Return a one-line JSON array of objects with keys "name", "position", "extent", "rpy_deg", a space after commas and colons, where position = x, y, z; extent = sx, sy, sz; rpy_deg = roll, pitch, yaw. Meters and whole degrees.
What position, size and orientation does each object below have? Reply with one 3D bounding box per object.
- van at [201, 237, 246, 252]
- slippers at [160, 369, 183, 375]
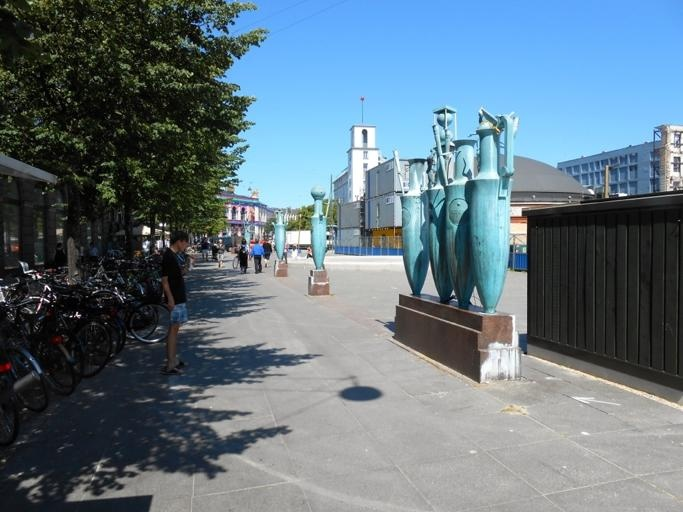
[{"name": "van", "position": [-10.723, -1.068, 51.917], "extent": [3.284, 1.299, 2.420], "rpy_deg": [-1, -2, 18]}, {"name": "slippers", "position": [-2.607, 1.732, 8.660], "extent": [0.257, 0.118, 0.113], "rpy_deg": [7, -10, -2]}]
